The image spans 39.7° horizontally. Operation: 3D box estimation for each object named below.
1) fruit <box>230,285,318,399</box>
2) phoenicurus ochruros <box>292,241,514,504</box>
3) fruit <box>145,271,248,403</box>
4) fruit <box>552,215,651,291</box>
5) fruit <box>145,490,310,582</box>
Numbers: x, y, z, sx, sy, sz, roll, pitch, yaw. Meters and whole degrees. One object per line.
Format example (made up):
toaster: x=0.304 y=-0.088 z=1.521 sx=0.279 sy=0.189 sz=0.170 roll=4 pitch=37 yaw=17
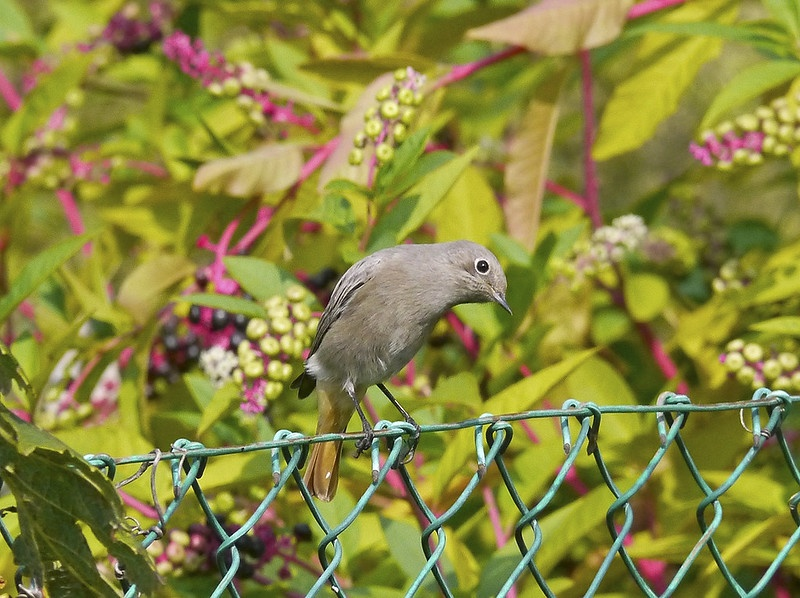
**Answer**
fruit: x=-0.487 y=0.159 z=4.390 sx=0.238 sy=0.498 sz=0.178 roll=27 pitch=-16 yaw=-11
phoenicurus ochruros: x=-0.033 y=0.262 z=4.558 sx=0.978 sy=1.059 sz=0.532 roll=-4 pitch=-7 yaw=34
fruit: x=-0.829 y=0.133 z=4.529 sx=0.288 sy=0.400 sz=0.936 roll=6 pitch=11 yaw=3
fruit: x=0.836 y=-0.196 z=4.606 sx=0.406 sy=0.175 sz=0.117 roll=-24 pitch=15 yaw=3
fruit: x=-0.684 y=0.964 z=4.573 sx=0.596 sy=0.271 sz=0.325 roll=0 pitch=-9 yaw=-36
